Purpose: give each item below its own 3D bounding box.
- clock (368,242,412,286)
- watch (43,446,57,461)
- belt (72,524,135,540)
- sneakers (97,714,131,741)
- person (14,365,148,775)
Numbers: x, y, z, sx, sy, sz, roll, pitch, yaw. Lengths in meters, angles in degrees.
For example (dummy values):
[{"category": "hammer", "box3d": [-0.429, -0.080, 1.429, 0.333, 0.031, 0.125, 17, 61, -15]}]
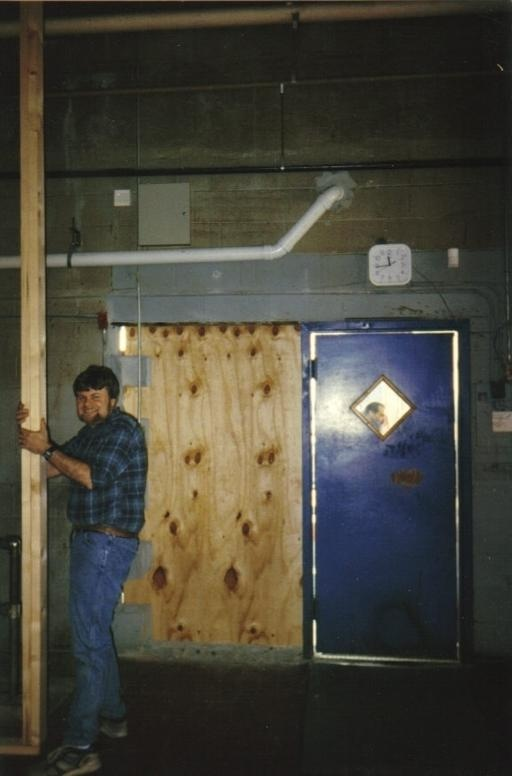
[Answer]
[{"category": "clock", "box3d": [0.788, -0.716, 6.657, 0.257, 0.241, 0.034, 0, -5, -5]}, {"category": "watch", "box3d": [-1.104, 0.338, 6.059, 0.053, 0.084, 0.074, 39, -29, -8]}, {"category": "belt", "box3d": [-0.811, 0.776, 6.134, 0.322, 0.071, 0.108, 1, -4, -15]}, {"category": "sneakers", "box3d": [-0.773, 1.841, 6.172, 0.188, 0.090, 0.072, 4, -6, 30]}, {"category": "person", "box3d": [-0.896, 0.943, 6.188, 0.515, 2.175, 0.708, -3, -5, 29]}]
